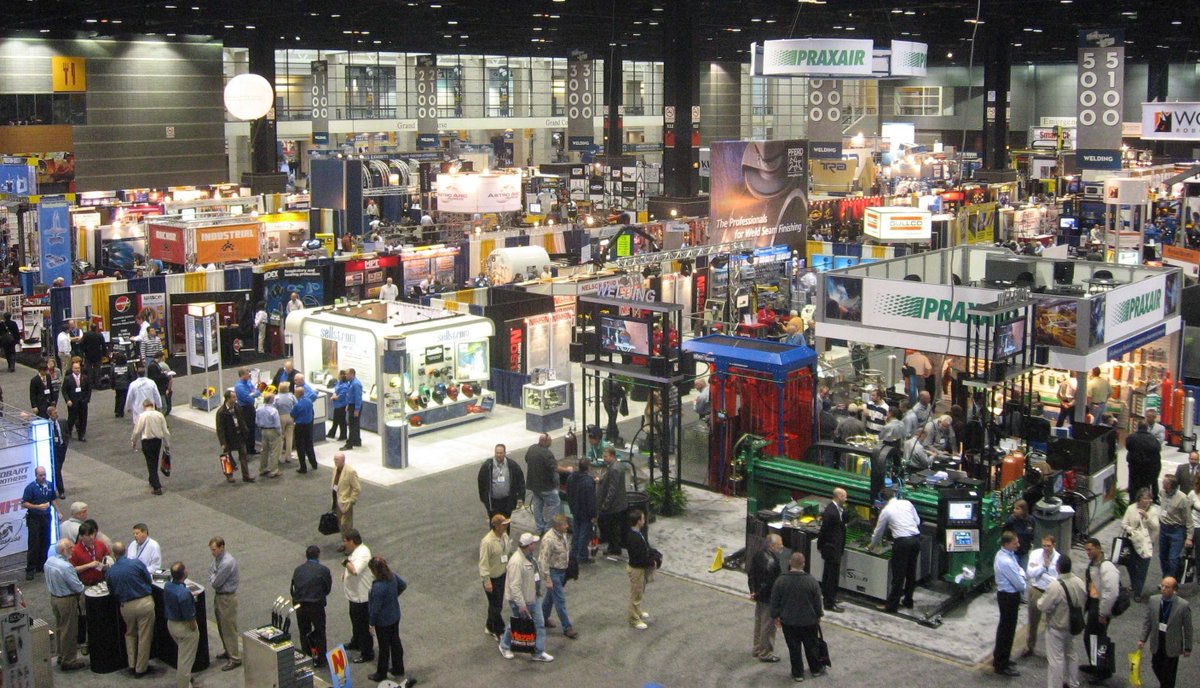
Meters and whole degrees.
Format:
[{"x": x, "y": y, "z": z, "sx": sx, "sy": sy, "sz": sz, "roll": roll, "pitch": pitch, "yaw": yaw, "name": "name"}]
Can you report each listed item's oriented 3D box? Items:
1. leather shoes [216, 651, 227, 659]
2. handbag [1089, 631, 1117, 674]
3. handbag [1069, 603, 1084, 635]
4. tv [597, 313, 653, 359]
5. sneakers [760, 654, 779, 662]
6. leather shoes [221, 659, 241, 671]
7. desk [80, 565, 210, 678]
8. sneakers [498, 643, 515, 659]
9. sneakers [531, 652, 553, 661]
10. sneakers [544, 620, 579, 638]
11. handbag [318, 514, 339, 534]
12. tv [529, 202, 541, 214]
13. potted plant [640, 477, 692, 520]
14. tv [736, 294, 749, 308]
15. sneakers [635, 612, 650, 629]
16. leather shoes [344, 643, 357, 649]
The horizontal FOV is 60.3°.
[{"x": -6.052, "y": 4.966, "z": 16.495, "sx": 0.173, "sy": 0.112, "sz": 0.065, "roll": 5, "pitch": 3, "yaw": 5, "name": "leather shoes"}, {"x": 7.813, "y": 4.809, "z": 15.972, "sx": 0.489, "sy": 0.665, "sz": 0.211, "roll": -2, "pitch": 9, "yaw": -8, "name": "handbag"}, {"x": 7.234, "y": 4.157, "z": 15.624, "sx": 0.326, "sy": 0.511, "sz": 0.118, "roll": -4, "pitch": 10, "yaw": -21, "name": "handbag"}, {"x": 0.478, "y": -0.159, "z": 19.761, "sx": 0.897, "sy": 0.575, "sz": 0.040, "roll": 7, "pitch": 10, "yaw": 34, "name": "tv"}, {"x": 2.679, "y": 4.950, "z": 16.327, "sx": 0.311, "sy": 0.120, "sz": 0.108, "roll": -2, "pitch": 7, "yaw": -10, "name": "sneakers"}, {"x": -5.798, "y": 5.047, "z": 16.217, "sx": 0.326, "sy": 0.124, "sz": 0.115, "roll": 3, "pitch": 3, "yaw": -1, "name": "leather shoes"}, {"x": -7.298, "y": 4.302, "z": 16.828, "sx": 2.084, "sy": 1.325, "sz": 1.578, "roll": -5, "pitch": 20, "yaw": -36, "name": "desk"}, {"x": -1.499, "y": 4.897, "z": 16.422, "sx": 0.320, "sy": 0.124, "sz": 0.120, "roll": 47, "pitch": 32, "yaw": 15, "name": "sneakers"}, {"x": -0.891, "y": 4.956, "z": 16.366, "sx": 0.260, "sy": 0.103, "sz": 0.126, "roll": 1, "pitch": 7, "yaw": -2, "name": "sneakers"}, {"x": -0.618, "y": 4.648, "z": 16.847, "sx": 0.559, "sy": 0.189, "sz": 0.256, "roll": 5, "pitch": 11, "yaw": 32, "name": "sneakers"}, {"x": -4.786, "y": 3.116, "z": 18.144, "sx": 0.418, "sy": 0.368, "sz": 0.386, "roll": 1, "pitch": -1, "yaw": -1, "name": "handbag"}, {"x": -2.652, "y": -5.403, "z": 41.561, "sx": 0.578, "sy": 0.383, "sz": 0.519, "roll": 5, "pitch": -21, "yaw": -6, "name": "tv"}, {"x": 1.210, "y": 2.965, "z": 19.758, "sx": 0.739, "sy": 0.518, "sz": 0.786, "roll": 3, "pitch": 7, "yaw": 20, "name": "potted plant"}, {"x": 3.789, "y": -1.155, "z": 27.683, "sx": 0.364, "sy": 0.238, "sz": 0.049, "roll": -10, "pitch": 14, "yaw": -42, "name": "tv"}, {"x": 0.707, "y": 4.545, "z": 17.016, "sx": 0.223, "sy": 0.168, "sz": 0.346, "roll": 2, "pitch": 10, "yaw": 18, "name": "sneakers"}, {"x": -3.999, "y": 4.811, "z": 16.462, "sx": 0.216, "sy": 0.101, "sz": 0.073, "roll": 3, "pitch": 10, "yaw": 23, "name": "leather shoes"}]
